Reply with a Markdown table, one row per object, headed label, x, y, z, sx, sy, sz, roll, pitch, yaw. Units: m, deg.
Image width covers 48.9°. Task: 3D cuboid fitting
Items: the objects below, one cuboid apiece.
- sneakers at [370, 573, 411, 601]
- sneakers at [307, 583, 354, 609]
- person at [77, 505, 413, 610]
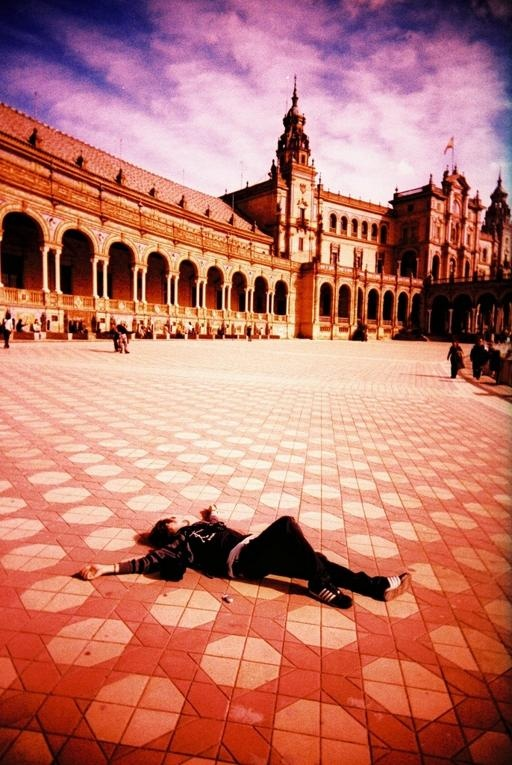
| label | x | y | z | sx | sy | sz | roll | pitch | yaw |
| --- | --- | --- | --- | --- | --- | --- | --- | --- | --- |
| sneakers | 0.659 | 0.984 | 2.770 | 0.226 | 0.092 | 0.081 | -14 | -4 | -30 |
| sneakers | 0.366 | 1.025 | 2.730 | 0.215 | 0.087 | 0.086 | 6 | 8 | 22 |
| person | -0.045 | 0.893 | 2.843 | 0.787 | 0.251 | 0.793 | 5 | -7 | 19 |
